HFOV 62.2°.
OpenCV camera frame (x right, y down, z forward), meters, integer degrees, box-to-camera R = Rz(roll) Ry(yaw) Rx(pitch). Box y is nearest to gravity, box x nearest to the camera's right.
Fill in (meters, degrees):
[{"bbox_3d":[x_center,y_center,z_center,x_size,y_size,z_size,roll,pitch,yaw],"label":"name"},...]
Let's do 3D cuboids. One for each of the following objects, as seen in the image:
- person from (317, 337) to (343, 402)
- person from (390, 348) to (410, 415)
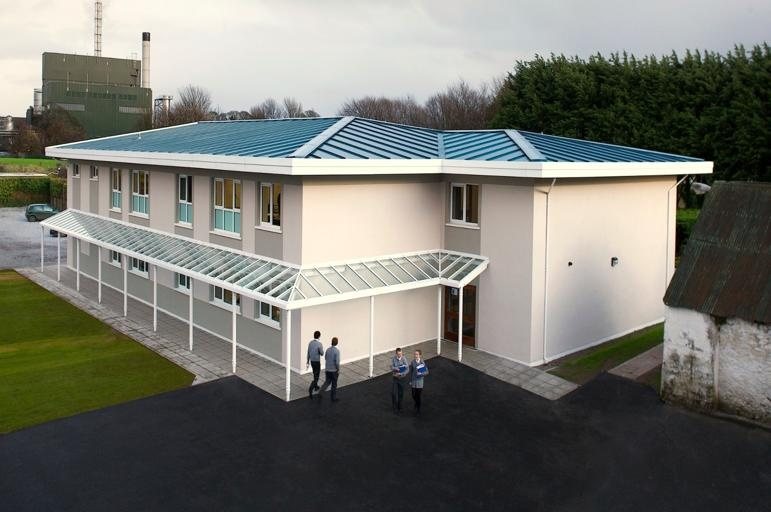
[{"bbox_3d":[-1.946,3.779,22.529,0.594,2.423,1.428,2,13,-1],"label":"person"},{"bbox_3d":[0.454,4.100,21.765,0.509,2.285,0.513,-5,14,-28],"label":"person"}]
